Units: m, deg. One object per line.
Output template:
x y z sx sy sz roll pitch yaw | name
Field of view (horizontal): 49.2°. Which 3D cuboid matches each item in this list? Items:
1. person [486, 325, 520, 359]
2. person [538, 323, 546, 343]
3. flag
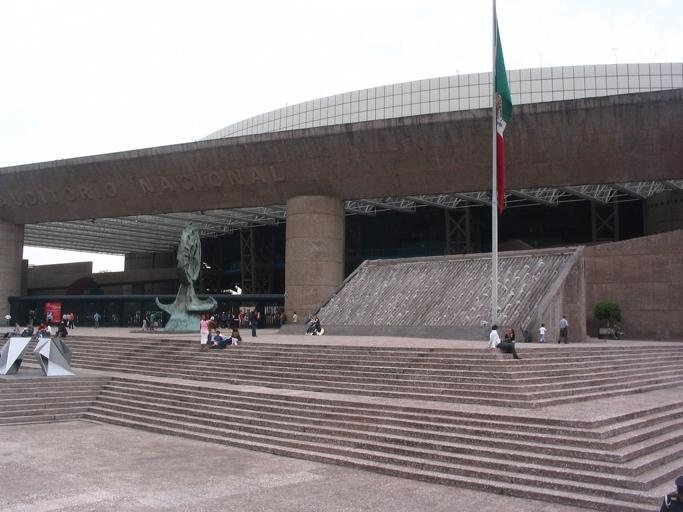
5.102 2.749 23.290 0.895 1.284 0.529 -12 -18 21 | person
7.951 3.066 29.398 0.322 0.745 1.115 -2 -1 15 | person
5.842 -5.367 27.112 0.577 6.957 2.289 -2 -1 12 | flag
